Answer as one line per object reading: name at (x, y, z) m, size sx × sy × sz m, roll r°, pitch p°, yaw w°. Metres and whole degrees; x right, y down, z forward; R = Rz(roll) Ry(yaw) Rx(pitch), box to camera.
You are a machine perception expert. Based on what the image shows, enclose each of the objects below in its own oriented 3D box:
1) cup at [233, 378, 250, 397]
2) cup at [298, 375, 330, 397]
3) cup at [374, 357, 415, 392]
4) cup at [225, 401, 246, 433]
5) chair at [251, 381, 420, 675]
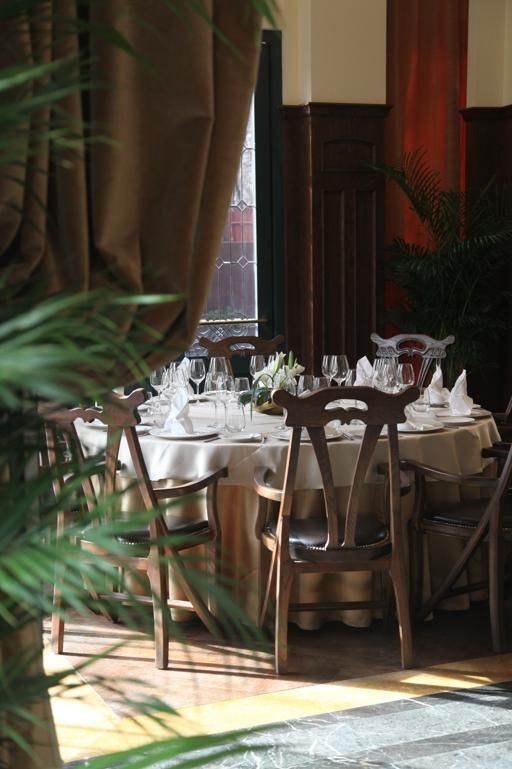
cup at (-0.072, 0.004, 2.967) m, size 0.050 × 0.082 × 0.083 m, roll 0°, pitch 6°, yaw -2°
cup at (0.253, 0.002, 2.851) m, size 0.102 × 0.103 × 0.103 m, roll 0°, pitch -3°, yaw 0°
cup at (0.665, -0.042, 3.120) m, size 0.193 × 0.223 × 0.213 m, roll -1°, pitch -11°, yaw -2°
cup at (-0.098, 0.144, 2.846) m, size 0.114 × 0.172 × 0.117 m, roll -2°, pitch 2°, yaw 0°
chair at (0.312, 0.540, 2.383) m, size 0.612 × 1.080 × 0.637 m, roll 0°, pitch 3°, yaw -2°
